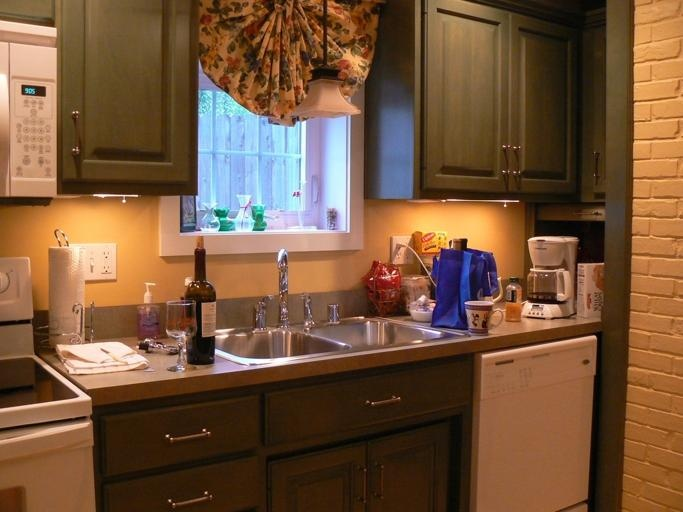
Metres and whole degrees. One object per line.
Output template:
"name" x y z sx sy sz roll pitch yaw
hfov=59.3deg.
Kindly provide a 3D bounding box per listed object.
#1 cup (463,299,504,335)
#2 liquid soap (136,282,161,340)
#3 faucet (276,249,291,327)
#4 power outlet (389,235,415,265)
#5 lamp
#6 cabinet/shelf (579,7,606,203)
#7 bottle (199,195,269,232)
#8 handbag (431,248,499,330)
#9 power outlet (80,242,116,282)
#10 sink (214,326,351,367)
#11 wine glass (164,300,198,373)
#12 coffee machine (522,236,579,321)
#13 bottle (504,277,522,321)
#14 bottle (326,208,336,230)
"cup" 0.644 0.274 2.626 0.184 0.136 0.129 0 -2 -15
"liquid soap" -0.767 0.215 2.384 0.088 0.215 0.158 -5 6 -19
"faucet" -0.250 0.144 2.574 0.045 0.334 0.030 -3 5 -6
"power outlet" 0.305 -0.029 3.055 0.015 0.156 0.135 1 5 45
"lamp" -0.086 -0.817 2.426 0.256 0.549 0.533 -3 5 -7
"cabinet/shelf" 1.332 -0.787 3.185 0.125 0.989 0.081 1 7 36
"bottle" -0.475 -0.182 2.741 0.269 0.129 0.148 1 -2 -30
"handbag" 0.532 0.137 2.894 0.310 0.456 0.365 0 0 -22
"power outlet" -0.947 0.022 2.325 0.148 0.153 0.020 -1 0 -42
"sink" -0.300 0.368 2.493 0.287 0.113 0.233 2 -1 -43
"wine glass" -0.537 0.257 2.030 0.096 0.226 0.188 -4 5 -14
"coffee machine" 1.037 0.104 2.949 0.309 0.388 0.171 -7 7 -39
"bottle" 0.835 0.204 2.909 0.077 0.193 0.253 -1 5 15
"bottle" -0.042 -0.180 2.946 0.053 0.105 0.023 -3 5 -3
